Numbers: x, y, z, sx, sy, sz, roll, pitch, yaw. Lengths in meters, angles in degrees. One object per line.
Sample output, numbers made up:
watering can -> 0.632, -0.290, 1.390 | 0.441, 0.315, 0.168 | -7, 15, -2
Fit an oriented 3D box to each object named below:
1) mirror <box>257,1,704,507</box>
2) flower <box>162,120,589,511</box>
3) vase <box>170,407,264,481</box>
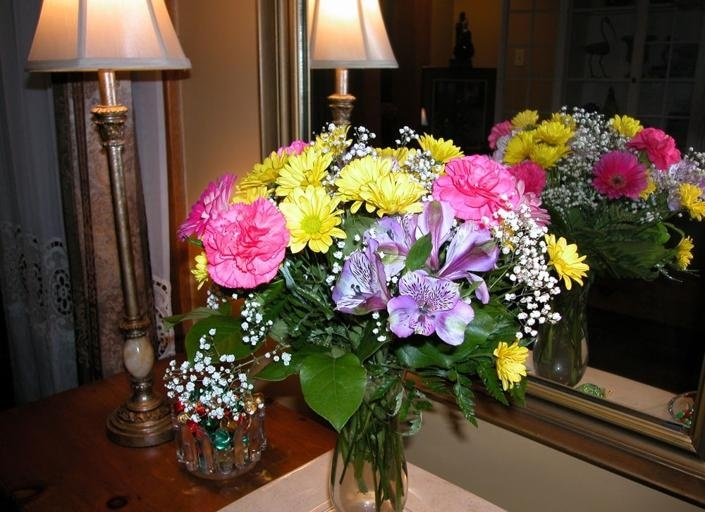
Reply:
mirror -> 0.233, 0.028, 1.140 | 0.725, 0.944, 0.705 | -2, 15, -22
flower -> 0.048, 0.073, 1.011 | 0.612, 0.717, 0.632 | -11, 17, -41
vase -> -0.293, 0.412, 1.231 | 0.162, 0.135, 0.166 | 4, 9, 42
